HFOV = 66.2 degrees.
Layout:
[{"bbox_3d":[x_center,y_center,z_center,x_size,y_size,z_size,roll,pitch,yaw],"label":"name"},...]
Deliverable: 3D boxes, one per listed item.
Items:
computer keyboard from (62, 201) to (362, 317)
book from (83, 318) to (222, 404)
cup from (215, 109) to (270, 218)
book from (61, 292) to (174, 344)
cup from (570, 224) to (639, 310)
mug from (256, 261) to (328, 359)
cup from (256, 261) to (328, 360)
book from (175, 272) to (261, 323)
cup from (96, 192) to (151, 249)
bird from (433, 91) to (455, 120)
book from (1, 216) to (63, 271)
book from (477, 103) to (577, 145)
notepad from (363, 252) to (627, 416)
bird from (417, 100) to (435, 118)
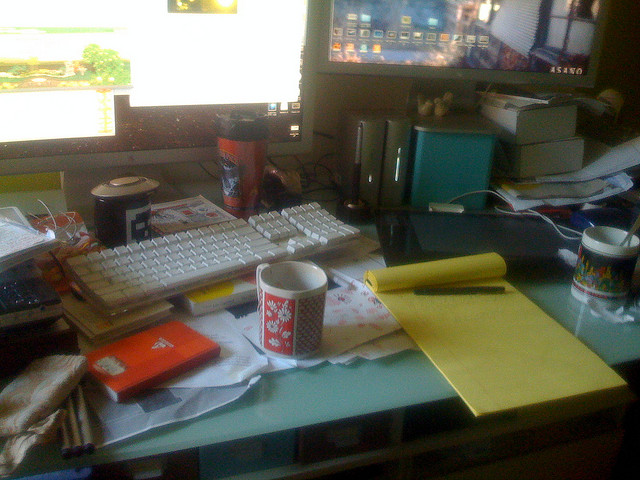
[{"bbox_3d":[-0.159,0.015,0.757,0.383,0.035,0.121,-17,36,-37],"label":"computer keyboard"},{"bbox_3d":[-0.205,0.132,0.621,0.130,0.026,0.149,-18,29,-11],"label":"book"},{"bbox_3d":[-0.132,-0.129,0.918,0.128,0.186,0.121,4,10,-1],"label":"cup"},{"bbox_3d":[-0.265,0.099,0.644,0.074,0.011,0.076,-15,29,-37],"label":"book"},{"bbox_3d":[0.430,0.046,0.745,0.096,0.122,0.087,4,27,-2],"label":"cup"},{"bbox_3d":[-0.033,0.087,0.658,0.091,0.099,0.128,-5,19,-17],"label":"mug"},{"bbox_3d":[-0.035,0.087,0.626,0.087,0.091,0.098,-1,27,-1],"label":"cup"},{"bbox_3d":[-0.144,0.083,0.696,0.099,0.026,0.058,-17,31,-31],"label":"book"},{"bbox_3d":[-0.323,-0.035,0.803,0.097,0.084,0.088,-5,19,-23],"label":"cup"},{"bbox_3d":[0.282,-0.310,1.121,0.045,0.055,0.039,4,18,-22],"label":"bird"},{"bbox_3d":[-0.361,0.007,0.623,0.069,0.005,0.060,22,34,28],"label":"book"},{"bbox_3d":[0.447,-0.265,1.157,0.198,0.083,0.223,0,25,-17],"label":"book"},{"bbox_3d":[0.229,0.109,0.673,0.239,0.031,0.276,-8,34,-25],"label":"notepad"},{"bbox_3d":[0.237,-0.294,1.111,0.036,0.031,0.050,5,27,11],"label":"bird"}]
